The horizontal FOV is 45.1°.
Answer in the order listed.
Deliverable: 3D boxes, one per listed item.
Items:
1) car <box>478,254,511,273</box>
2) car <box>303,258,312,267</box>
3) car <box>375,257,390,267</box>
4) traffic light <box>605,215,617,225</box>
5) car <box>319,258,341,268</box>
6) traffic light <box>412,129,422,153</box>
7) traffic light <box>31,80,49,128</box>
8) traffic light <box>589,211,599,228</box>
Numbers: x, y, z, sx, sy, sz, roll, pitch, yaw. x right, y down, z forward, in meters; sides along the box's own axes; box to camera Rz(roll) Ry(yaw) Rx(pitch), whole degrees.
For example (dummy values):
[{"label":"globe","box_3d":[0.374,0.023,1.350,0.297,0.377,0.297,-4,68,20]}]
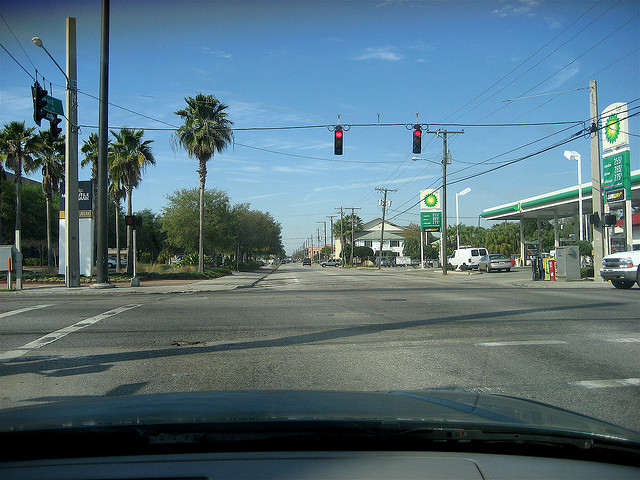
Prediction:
[{"label":"car","box_3d":[11.197,1.548,49.584,1.100,0.798,2.525,0,2,3]},{"label":"car","box_3d":[-2.033,3.502,120.223,1.276,1.031,2.058,0,-6,0]},{"label":"car","box_3d":[7.471,2.430,87.019,0.946,0.796,1.636,-6,-12,44]},{"label":"traffic light","box_3d":[10.938,-0.739,28.988,0.359,0.348,0.362,-5,-15,21]},{"label":"car","box_3d":[1.576,3.166,107.788,2.095,0.977,1.296,4,-4,-1]},{"label":"traffic light","box_3d":[3.536,-3.589,28.026,0.250,0.550,0.311,1,-1,-2]},{"label":"traffic light","box_3d":[-7.719,-3.793,21.216,0.400,1.223,2.190,1,-1,-20]},{"label":"traffic light","box_3d":[10.580,-0.784,29.638,0.392,0.742,0.555,-1,-2,18]}]
